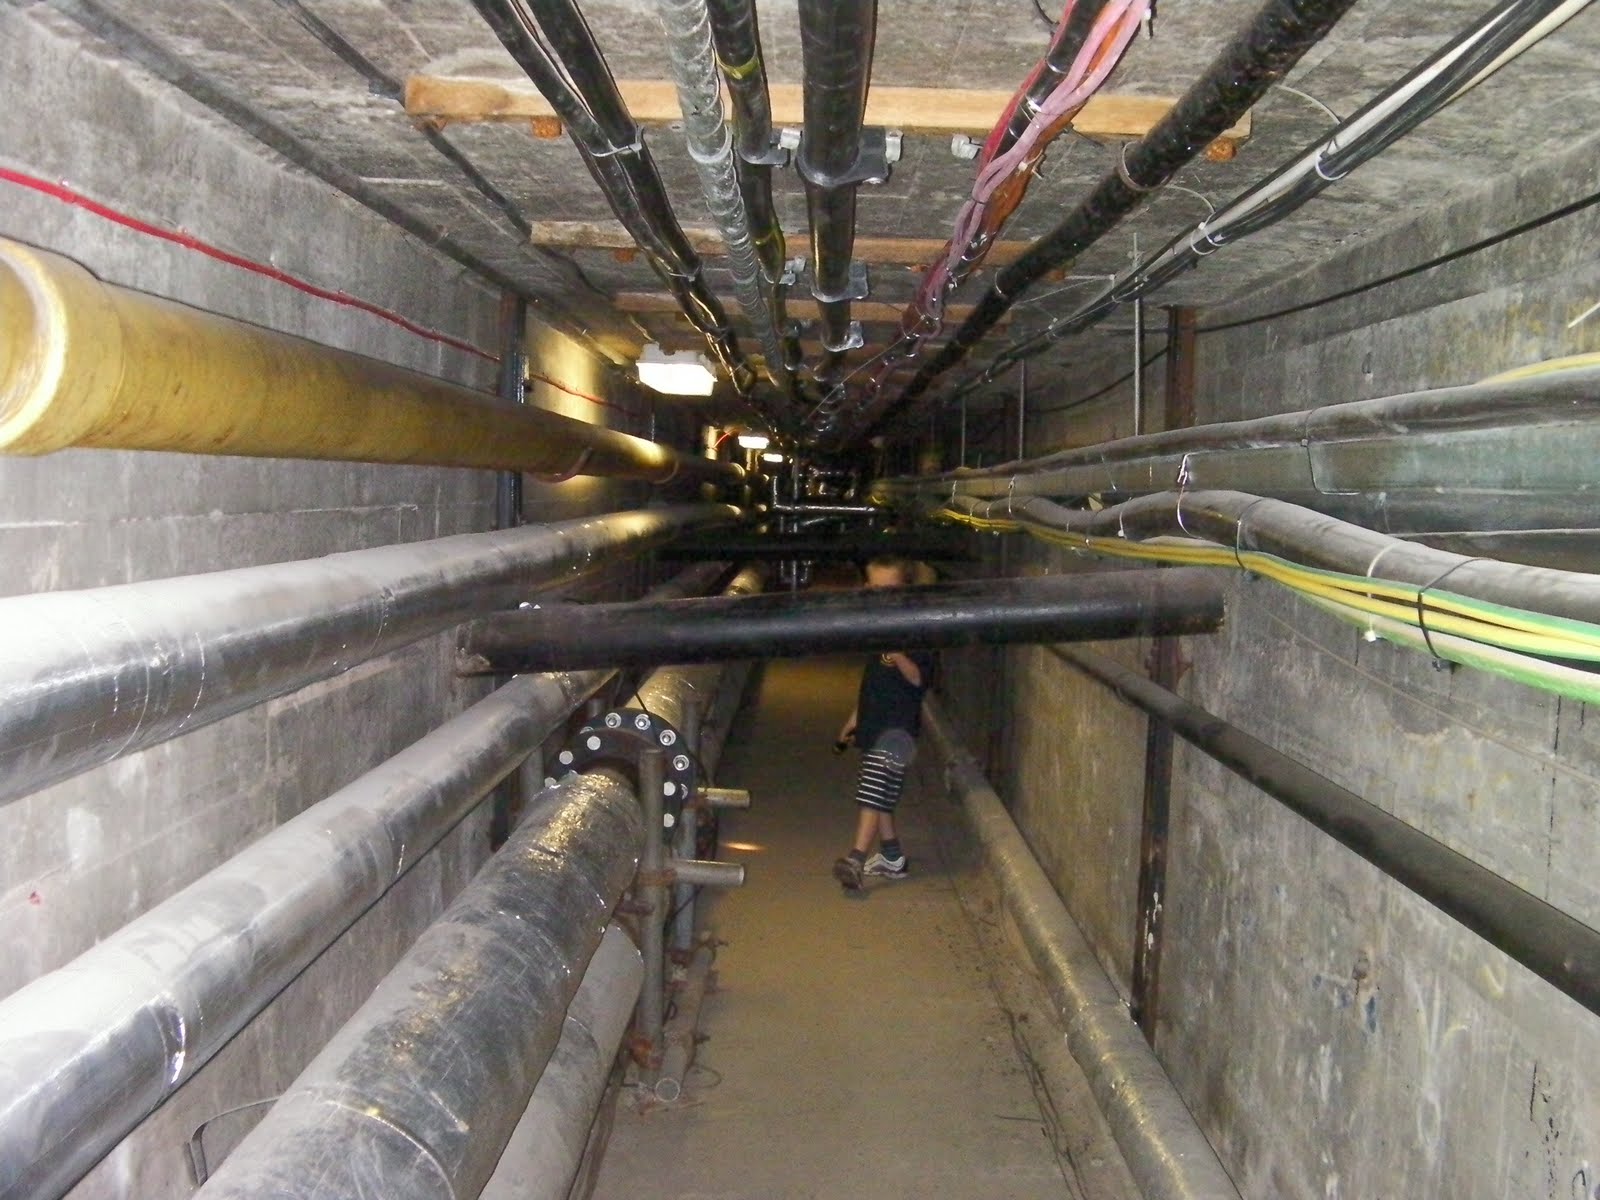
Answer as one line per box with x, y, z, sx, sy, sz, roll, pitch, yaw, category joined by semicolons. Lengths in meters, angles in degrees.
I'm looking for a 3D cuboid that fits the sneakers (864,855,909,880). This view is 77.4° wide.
0.428;1.308;4.912;0.237;0.088;0.093;3;-88;-1;sneakers

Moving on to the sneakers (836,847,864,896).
0.250;1.282;4.782;0.152;0.208;0.199;0;-85;1;sneakers
